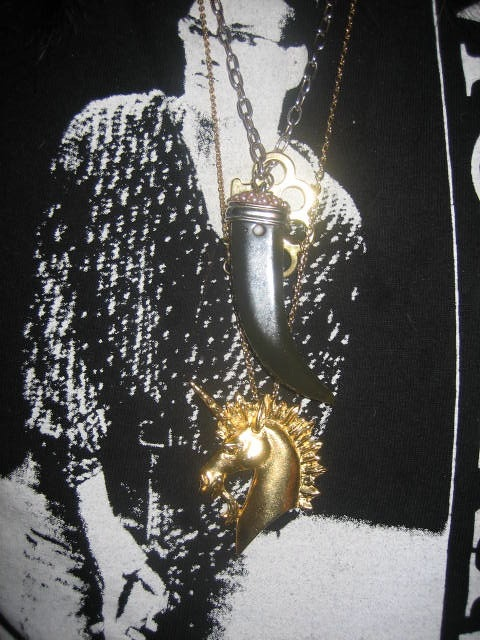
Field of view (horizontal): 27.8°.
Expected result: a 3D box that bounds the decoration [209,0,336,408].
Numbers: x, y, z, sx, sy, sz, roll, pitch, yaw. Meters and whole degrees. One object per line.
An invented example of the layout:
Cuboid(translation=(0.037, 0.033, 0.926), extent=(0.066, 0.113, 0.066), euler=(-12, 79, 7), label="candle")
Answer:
Cuboid(translation=(0.055, -0.129, 1.773), extent=(0.155, 0.855, 0.098), euler=(-10, -1, 9), label="decoration")

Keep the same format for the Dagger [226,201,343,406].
Cuboid(translation=(0.068, -0.045, 1.749), extent=(0.127, 0.430, 0.109), euler=(-7, -6, 2), label="Dagger")
